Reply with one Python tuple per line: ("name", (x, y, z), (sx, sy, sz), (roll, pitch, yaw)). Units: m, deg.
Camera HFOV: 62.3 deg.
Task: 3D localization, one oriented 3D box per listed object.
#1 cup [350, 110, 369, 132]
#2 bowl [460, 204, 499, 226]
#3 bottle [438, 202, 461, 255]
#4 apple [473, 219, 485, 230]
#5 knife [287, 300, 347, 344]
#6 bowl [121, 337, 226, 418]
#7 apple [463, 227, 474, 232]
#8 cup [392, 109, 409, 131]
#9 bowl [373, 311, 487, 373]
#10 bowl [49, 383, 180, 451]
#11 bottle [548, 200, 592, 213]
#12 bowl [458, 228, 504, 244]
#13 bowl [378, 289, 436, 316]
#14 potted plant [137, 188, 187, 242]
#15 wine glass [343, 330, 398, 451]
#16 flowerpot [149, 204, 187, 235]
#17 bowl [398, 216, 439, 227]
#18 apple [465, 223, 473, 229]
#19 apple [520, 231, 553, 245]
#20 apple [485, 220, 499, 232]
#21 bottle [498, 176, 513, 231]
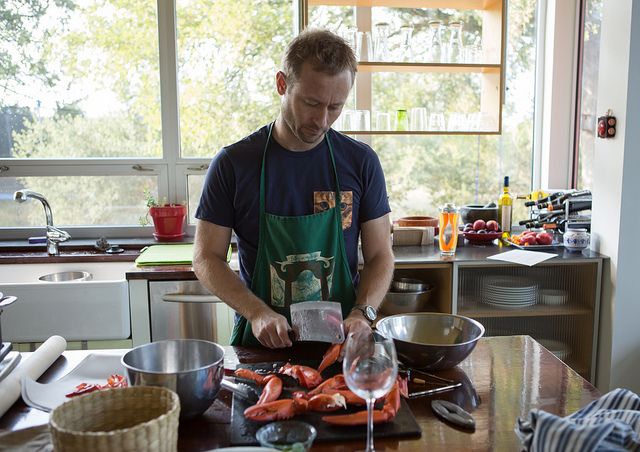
("cup", (0.257, -0.678, 3.412), (0.143, 0.155, 0.087), (-2, 7, -20))
("bowl", (1.085, -0.074, 3.613), (0.167, 0.122, 0.223), (-7, 8, -42))
("bottle", (0.787, 0.011, 3.211), (0.112, 0.298, 0.294), (0, 6, 15))
("apple", (1.039, -0.005, 3.446), (0.068, 0.062, 0.060), (-14, -26, 32))
("knife", (-0.010, 0.326, 1.756), (0.165, 0.125, 0.015), (1, 11, 14))
("bowl", (-0.413, 0.421, 1.555), (0.225, 0.139, 0.240), (0, 7, 0))
("apple", (0.975, 0.023, 3.471), (0.069, 0.025, 0.054), (-3, 6, -15))
("cup", (0.554, -0.706, 3.535), (0.124, 0.152, 0.132), (-2, 6, 0))
("bowl", (0.378, 0.406, 1.790), (0.359, 0.141, 0.373), (-2, 6, 0))
("bowl", (-0.492, 0.485, 1.288), (0.289, 0.120, 0.179), (-4, 7, -22))
("bottle", (1.601, -0.126, 3.397), (0.243, 0.075, 0.096), (0, 7, 21))
("bowl", (1.050, 0.067, 3.435), (0.263, 0.094, 0.150), (0, 6, 19))
("bowl", (0.498, 0.453, 3.104), (0.298, 0.116, 0.212), (0, -2, -2))
("potted plant", (-1.091, -0.079, 3.682), (0.244, 0.371, 0.367), (5, 7, 34))
("wine glass", (0.134, 0.446, 1.431), (0.142, 0.305, 0.112), (-3, 7, -12))
("flowerpot", (-1.037, -0.054, 3.706), (0.285, 0.164, 0.284), (-4, 6, -32))
("bowl", (0.675, -0.026, 3.555), (0.277, 0.073, 0.115), (-3, 6, -8))
("apple", (0.997, 0.001, 3.525), (0.036, 0.038, 0.034), (9, 37, 1))
("apple", (1.357, 0.080, 3.333), (0.158, 0.066, 0.173), (-8, 8, -44))
("apple", (1.123, 0.000, 3.471), (0.079, 0.073, 0.068), (18, -11, 7))
("bottle", (1.270, -0.156, 3.593), (0.076, 0.370, 0.155), (4, 8, 40))
